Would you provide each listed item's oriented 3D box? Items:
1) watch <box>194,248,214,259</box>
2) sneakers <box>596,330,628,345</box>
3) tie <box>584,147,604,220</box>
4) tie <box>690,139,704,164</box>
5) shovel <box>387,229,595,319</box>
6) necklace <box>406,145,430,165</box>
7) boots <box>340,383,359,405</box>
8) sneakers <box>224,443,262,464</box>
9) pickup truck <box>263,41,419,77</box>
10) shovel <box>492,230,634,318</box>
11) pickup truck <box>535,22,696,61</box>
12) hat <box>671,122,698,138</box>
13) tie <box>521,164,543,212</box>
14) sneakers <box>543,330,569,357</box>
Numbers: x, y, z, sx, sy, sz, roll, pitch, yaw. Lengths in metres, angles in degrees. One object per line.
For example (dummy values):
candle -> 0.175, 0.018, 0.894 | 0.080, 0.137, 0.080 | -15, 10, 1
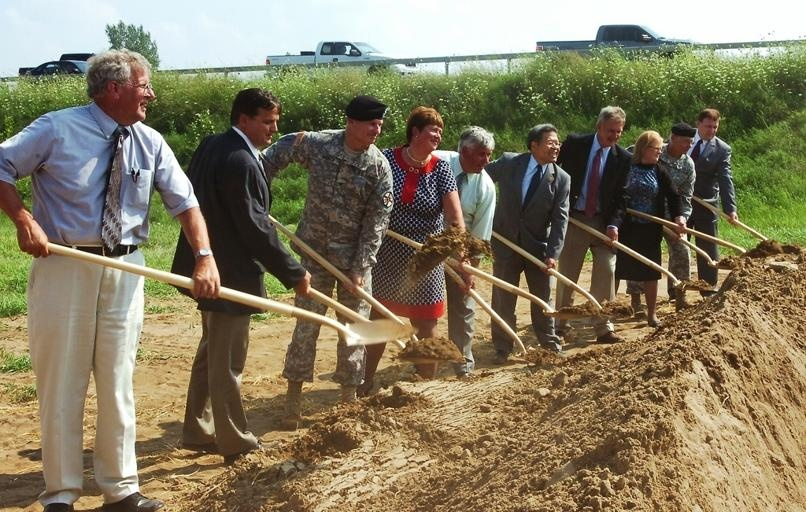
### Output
watch -> -1.860, 0.008, 8.774 | 0.105, 0.100, 0.097 | 3, -17, -12
sneakers -> 2.650, 1.082, 12.138 | 0.312, 0.130, 0.148 | -7, -5, 32
tie -> 2.429, -0.928, 12.026 | 0.137, 0.857, 0.244 | 14, 21, 37
tie -> 4.062, -1.442, 13.150 | 0.088, 0.369, 0.065 | 16, 8, 25
shovel -> 0.987, 0.207, 10.900 | 1.469, 0.215, 0.495 | 31, 16, 15
necklace -> 0.133, -1.066, 10.123 | 0.181, 0.199, 0.253 | 3, -17, 0
boots -> -0.569, 1.490, 10.038 | 0.187, 0.265, 0.193 | 0, 6, -14
sneakers -> -1.632, 2.025, 9.523 | 0.231, 0.165, 0.231 | -23, 9, -2
pickup truck -> -1.925, -6.004, 28.304 | 3.848, 0.865, 5.106 | 0, 16, -4
shovel -> 1.836, 0.357, 11.224 | 1.607, 0.522, 0.840 | 29, 18, 14
pickup truck -> 5.686, -5.713, 25.156 | 3.674, 0.743, 4.346 | 5, 17, 13
hat -> 3.656, -1.628, 12.358 | 0.271, 0.182, 0.286 | 13, 20, 34
tie -> 1.551, -0.825, 11.403 | 0.123, 0.633, 0.089 | 20, 11, 7
sneakers -> 1.837, 1.110, 11.545 | 0.171, 0.122, 0.241 | 18, 30, 1
